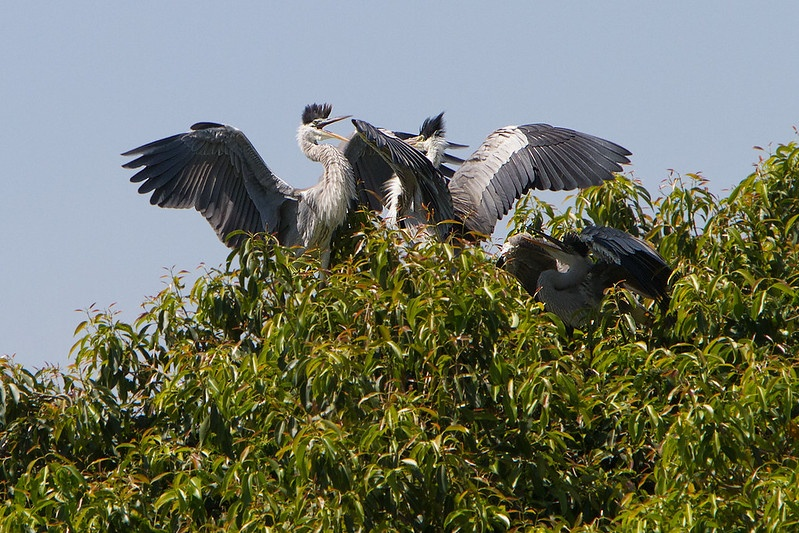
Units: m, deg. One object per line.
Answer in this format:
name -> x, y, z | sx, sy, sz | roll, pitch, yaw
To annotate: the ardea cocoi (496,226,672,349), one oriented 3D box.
ardea cocoi -> 1.295, -0.001, 9.612 | 0.971, 0.949, 0.558 | -10, 75, -28
